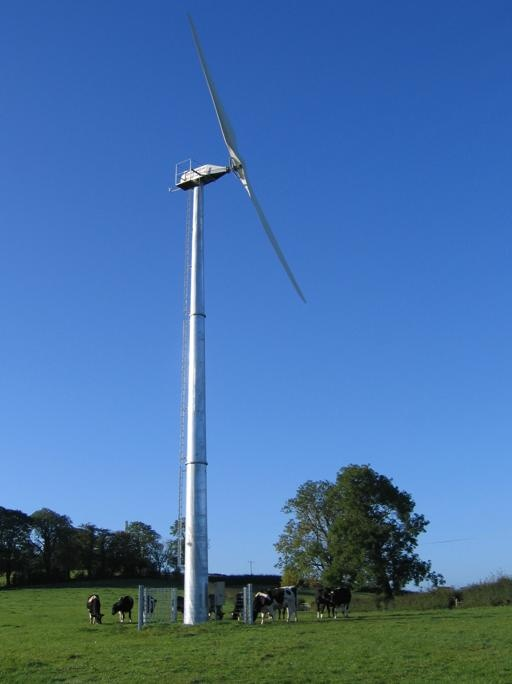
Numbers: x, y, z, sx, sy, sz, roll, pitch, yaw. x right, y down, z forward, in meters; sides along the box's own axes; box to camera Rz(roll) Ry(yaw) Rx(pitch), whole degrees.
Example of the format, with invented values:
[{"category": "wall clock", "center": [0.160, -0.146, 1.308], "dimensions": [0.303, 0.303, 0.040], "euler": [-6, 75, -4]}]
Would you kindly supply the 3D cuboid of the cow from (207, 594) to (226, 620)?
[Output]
[{"category": "cow", "center": [-2.266, 14.334, 47.942], "dimensions": [0.860, 1.005, 1.601], "euler": [-3, -26, 3]}]
